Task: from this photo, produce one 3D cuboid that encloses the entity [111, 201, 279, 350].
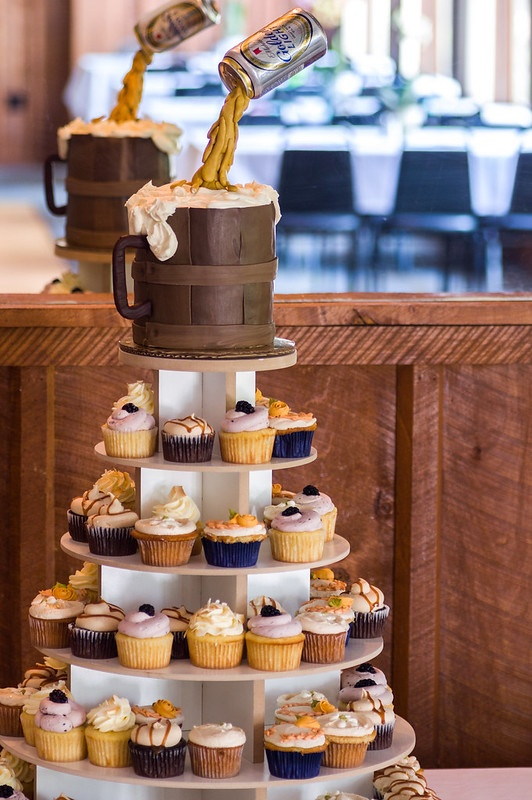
[{"bbox_3d":[-0.161,-0.197,1.438,0.265,0.222,0.318,5,12,25],"label":"entity"}]
